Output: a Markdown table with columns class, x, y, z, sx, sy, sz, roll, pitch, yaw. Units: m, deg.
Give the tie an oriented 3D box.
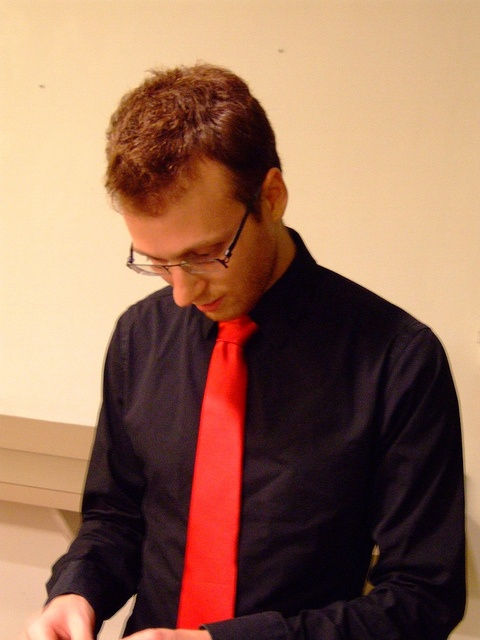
| class | x | y | z | sx | sy | sz | roll | pitch | yaw |
| --- | --- | --- | --- | --- | --- | --- | --- | --- | --- |
| tie | -0.021 | 0.188 | 0.811 | 0.069 | 0.379 | 0.033 | 7 | -14 | 13 |
